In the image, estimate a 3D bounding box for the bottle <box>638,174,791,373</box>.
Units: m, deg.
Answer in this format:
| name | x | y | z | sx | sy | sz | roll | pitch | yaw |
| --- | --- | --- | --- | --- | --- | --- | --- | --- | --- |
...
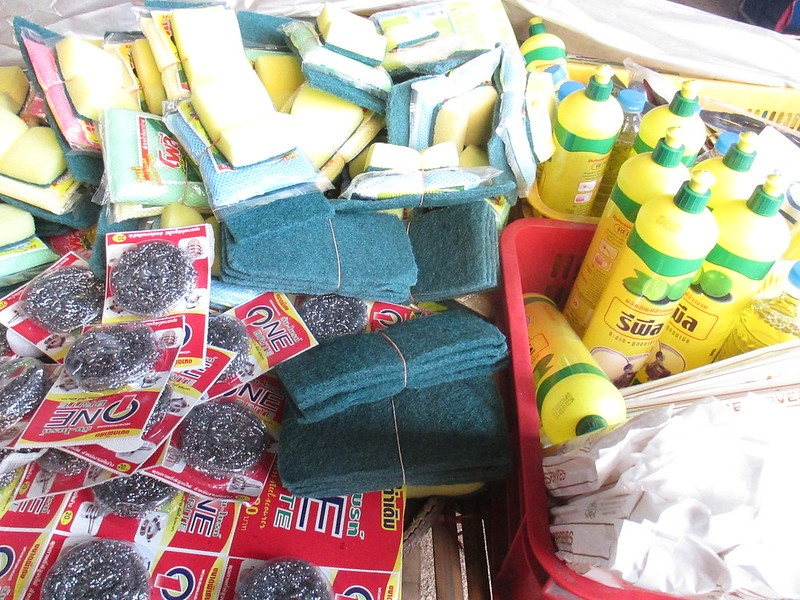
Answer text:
| name | x | y | z | sx | sy | sz | roll | pitch | yaw |
| --- | --- | --- | --- | --- | --- | --- | --- | --- | --- |
| bottle | 0.456 | -0.007 | 0.831 | 0.106 | 0.372 | 0.091 | 3 | 43 | 0 |
